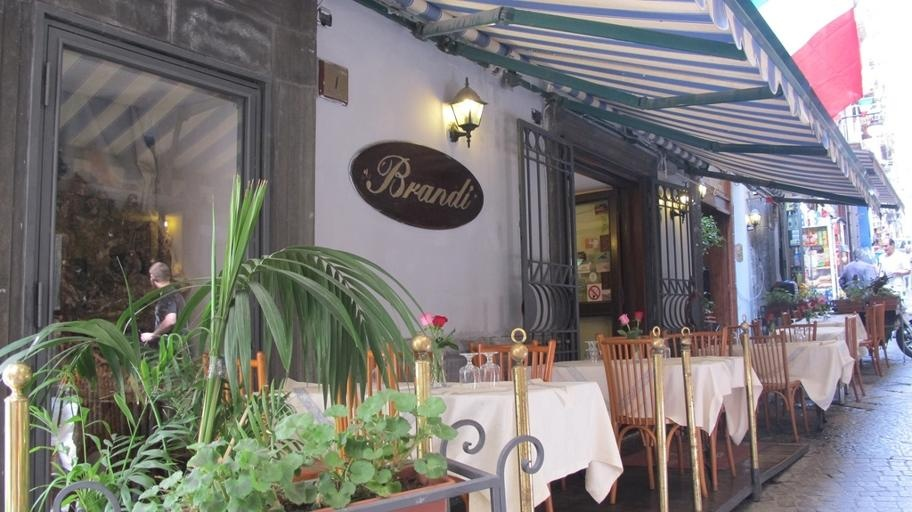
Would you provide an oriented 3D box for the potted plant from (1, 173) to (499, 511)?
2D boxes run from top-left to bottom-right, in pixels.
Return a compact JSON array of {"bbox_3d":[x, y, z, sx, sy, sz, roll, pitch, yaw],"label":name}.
[{"bbox_3d":[-1.222,0.453,5.350,2.762,2.057,1.939,-2,-6,-12],"label":"potted plant"}]

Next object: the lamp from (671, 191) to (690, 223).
[{"bbox_3d":[3.489,-0.794,12.033,0.120,0.473,0.748,-8,-9,32],"label":"lamp"}]

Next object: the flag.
[{"bbox_3d":[4.770,-2.440,9.904,0.745,1.146,0.712,-8,-9,31],"label":"flag"}]

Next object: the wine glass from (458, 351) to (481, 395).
[{"bbox_3d":[0.110,0.977,6.370,0.226,0.350,0.247,-8,-11,42],"label":"wine glass"}]

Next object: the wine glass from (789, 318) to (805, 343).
[{"bbox_3d":[4.752,1.049,10.771,0.229,0.317,0.167,-1,-9,7],"label":"wine glass"}]

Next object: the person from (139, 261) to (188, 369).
[{"bbox_3d":[-2.174,0.455,5.712,0.266,0.774,0.369,3,-28,-2],"label":"person"}]

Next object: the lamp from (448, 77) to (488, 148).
[{"bbox_3d":[0.161,-1.602,8.424,0.446,0.724,0.328,4,-10,-42],"label":"lamp"}]
